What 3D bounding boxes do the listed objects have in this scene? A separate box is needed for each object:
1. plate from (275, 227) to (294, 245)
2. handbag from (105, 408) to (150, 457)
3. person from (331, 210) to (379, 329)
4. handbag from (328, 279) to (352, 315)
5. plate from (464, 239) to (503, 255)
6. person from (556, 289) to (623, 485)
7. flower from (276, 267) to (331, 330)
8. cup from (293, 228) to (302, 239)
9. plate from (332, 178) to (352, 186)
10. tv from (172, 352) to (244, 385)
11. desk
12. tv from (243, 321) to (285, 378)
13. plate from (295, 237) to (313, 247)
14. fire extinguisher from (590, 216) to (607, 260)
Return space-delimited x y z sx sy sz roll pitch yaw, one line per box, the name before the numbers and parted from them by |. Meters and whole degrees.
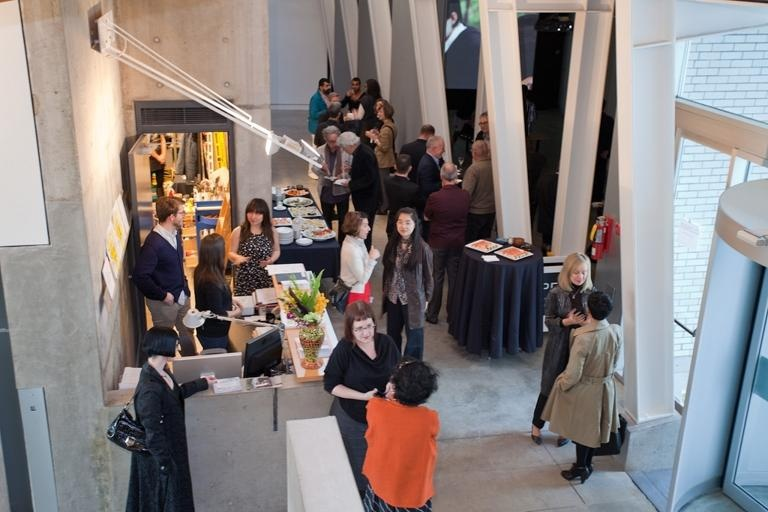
plate | -1.321 -0.266 7.723 0.233 0.133 0.224 5 21 7
handbag | -1.861 1.333 4.302 0.369 0.258 0.129 15 -26 -16
person | -0.349 0.178 6.747 0.600 1.607 0.685 -14 52 -13
handbag | -0.516 0.493 6.744 0.214 0.379 0.396 8 23 -23
plate | 1.251 -0.114 7.132 0.258 0.035 0.251 -11 27 -28
person | 1.851 1.254 5.352 0.632 1.907 0.307 2 14 20
flower | -0.801 0.403 5.527 0.566 0.499 0.546 -4 3 23
cup | -1.180 -0.298 7.921 0.116 0.118 0.114 1 9 0
plate | -0.638 -1.100 8.561 0.292 0.100 0.163 9 16 43
tv | -1.492 0.970 4.888 0.369 0.355 0.114 -2 41 -14
desk | 1.470 0.518 7.367 1.295 1.218 1.274 -9 30 -21
tv | -1.063 0.853 5.164 0.146 0.397 0.409 29 32 29
plate | -1.076 -0.180 7.758 0.232 0.085 0.171 -4 12 -8
fire extinguisher | 2.641 -0.216 7.061 0.190 0.543 0.193 -1 13 6
